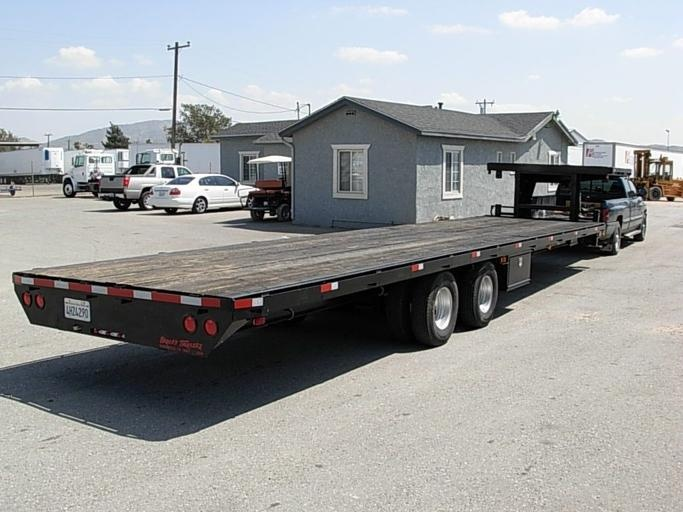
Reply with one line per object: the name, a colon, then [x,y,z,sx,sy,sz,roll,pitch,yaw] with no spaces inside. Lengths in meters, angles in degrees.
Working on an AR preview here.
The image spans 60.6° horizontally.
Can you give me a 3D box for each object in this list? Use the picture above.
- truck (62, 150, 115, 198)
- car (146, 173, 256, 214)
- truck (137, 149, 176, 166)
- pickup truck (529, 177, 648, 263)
truck: [-16.015,-5.283,37.593,2.622,2.844,4.670,-4,11,-41]
car: [-6.258,-2.825,26.376,4.008,1.708,0.989,-7,11,-38]
truck: [-11.667,-6.360,37.127,2.278,0.820,1.355,0,9,-2]
pickup truck: [6.626,-1.274,15.196,2.060,1.688,3.929,7,14,39]
